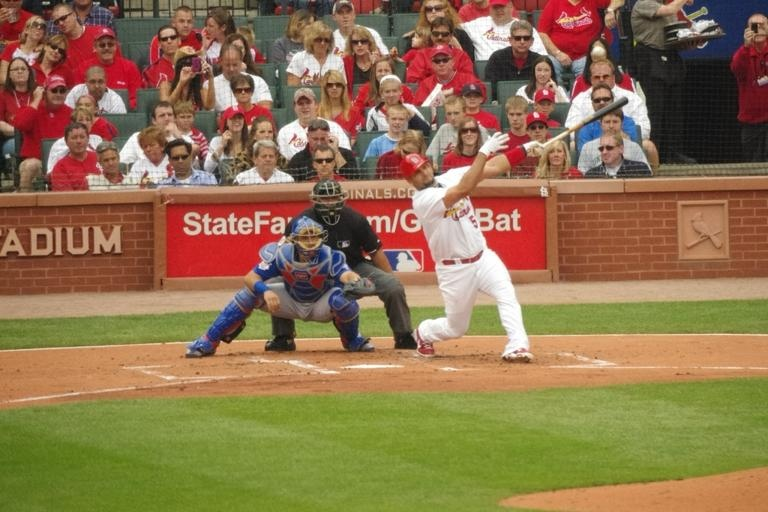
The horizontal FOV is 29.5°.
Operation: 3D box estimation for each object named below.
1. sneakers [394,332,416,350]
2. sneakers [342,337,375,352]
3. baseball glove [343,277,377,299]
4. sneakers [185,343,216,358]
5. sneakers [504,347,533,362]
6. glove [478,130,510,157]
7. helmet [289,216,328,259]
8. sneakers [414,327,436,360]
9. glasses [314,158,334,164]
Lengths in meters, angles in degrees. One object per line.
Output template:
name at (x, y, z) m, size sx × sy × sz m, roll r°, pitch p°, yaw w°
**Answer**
sneakers at (0.254, 1.189, 20.235) m, size 0.404 × 0.256 × 0.150 m, roll -3°, pitch 13°, yaw -1°
sneakers at (-0.335, 1.232, 20.155) m, size 0.474 × 0.200 × 0.185 m, roll -3°, pitch -2°, yaw 19°
baseball glove at (-0.302, 0.431, 19.399) m, size 0.263 × 0.148 × 0.348 m, roll -9°, pitch 16°, yaw -37°
sneakers at (-2.477, 1.268, 19.784) m, size 0.403 × 0.172 × 0.181 m, roll -3°, pitch 7°, yaw -15°
sneakers at (1.762, 1.282, 19.023) m, size 0.387 × 0.214 × 0.174 m, roll 1°, pitch 14°, yaw 6°
glove at (1.468, -1.483, 18.988) m, size 0.288 × 0.306 × 0.682 m, roll 3°, pitch 14°, yaw 13°
helmet at (-1.017, -0.288, 19.514) m, size 0.526 × 0.468 × 0.559 m, roll -7°, pitch 16°, yaw -15°
sneakers at (0.547, 1.196, 19.680) m, size 0.197 × 0.462 × 0.203 m, roll -23°, pitch 13°, yaw -29°
glasses at (-0.855, -1.393, 21.082) m, size 0.274 × 0.082 × 0.120 m, roll -1°, pitch 14°, yaw -2°
